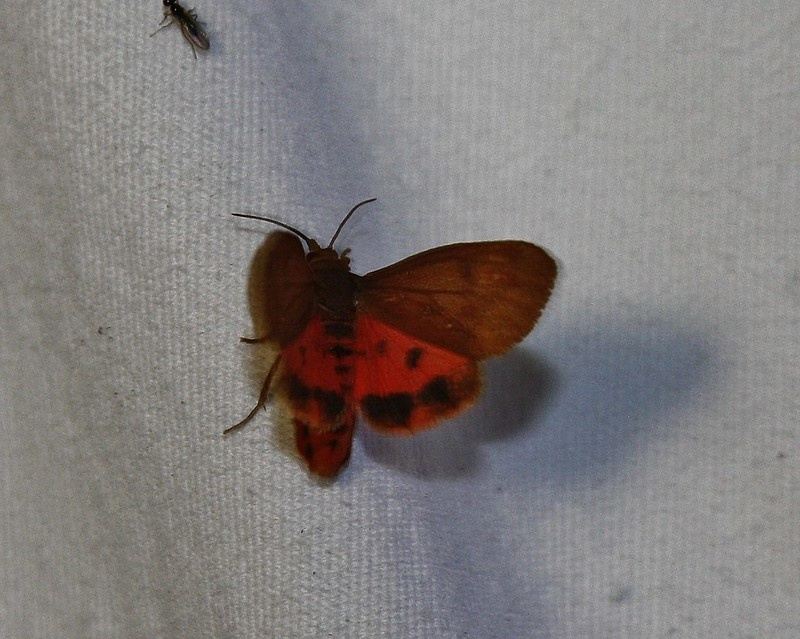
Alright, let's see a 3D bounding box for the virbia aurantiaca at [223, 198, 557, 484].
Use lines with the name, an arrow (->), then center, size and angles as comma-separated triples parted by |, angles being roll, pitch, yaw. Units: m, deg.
virbia aurantiaca -> -0.070, 0.000, 1.369 | 0.501, 0.241, 0.365 | 5, 76, -32
